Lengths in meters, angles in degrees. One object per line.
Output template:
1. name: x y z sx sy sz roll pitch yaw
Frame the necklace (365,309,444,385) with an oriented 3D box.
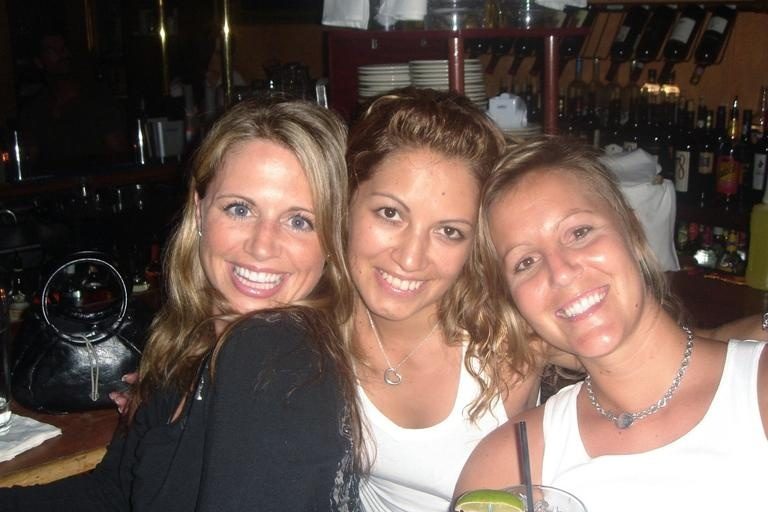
1. necklace: 0.090 0.401 2.785 0.328 0.371 0.040 2 3 8

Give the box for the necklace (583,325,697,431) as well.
1. necklace: 0.934 0.444 2.376 0.363 0.334 0.235 7 20 14
